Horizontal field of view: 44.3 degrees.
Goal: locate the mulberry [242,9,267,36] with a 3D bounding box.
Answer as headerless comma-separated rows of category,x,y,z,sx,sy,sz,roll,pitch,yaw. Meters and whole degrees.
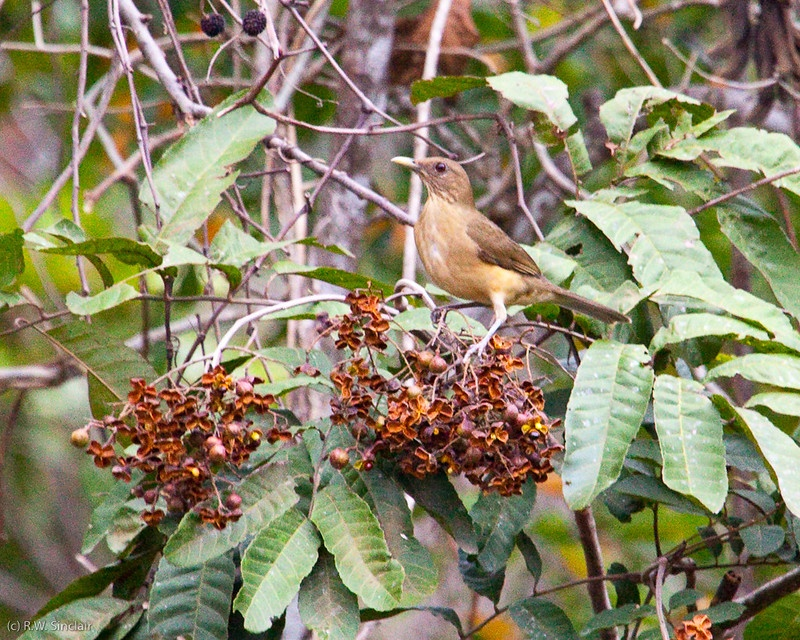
mulberry,-0.701,-1.419,4.794,0.118,0.141,0.124,0,27,-23

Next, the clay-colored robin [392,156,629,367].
clay-colored robin,0.422,-0.331,5.273,0.592,0.768,1.702,-14,31,-8
